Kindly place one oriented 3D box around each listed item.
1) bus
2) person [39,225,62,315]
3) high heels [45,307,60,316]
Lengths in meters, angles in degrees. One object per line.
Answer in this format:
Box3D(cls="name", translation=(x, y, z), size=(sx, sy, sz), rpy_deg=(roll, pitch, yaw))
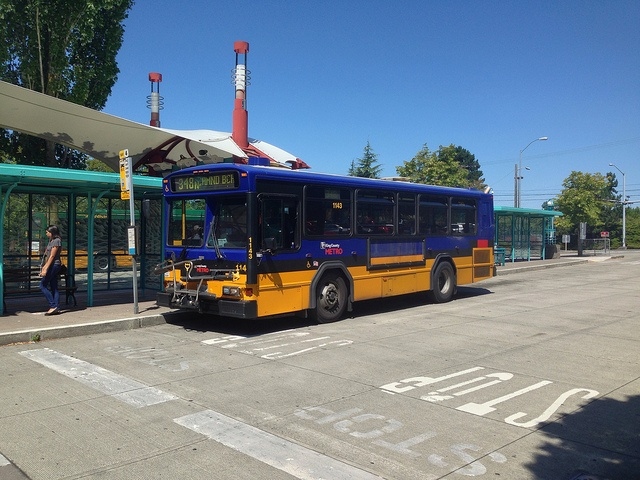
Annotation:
Box3D(cls="bus", translation=(1.103, 0.031, 15.319), size=(11.106, 3.976, 3.063), rpy_deg=(-5, 8, -39))
Box3D(cls="person", translation=(-6.614, 0.753, 13.411), size=(0.462, 2.112, 0.935), rpy_deg=(-3, 7, -26))
Box3D(cls="high heels", translation=(-6.444, 1.732, 13.167), size=(0.136, 0.142, 0.350), rpy_deg=(-3, -10, 6))
